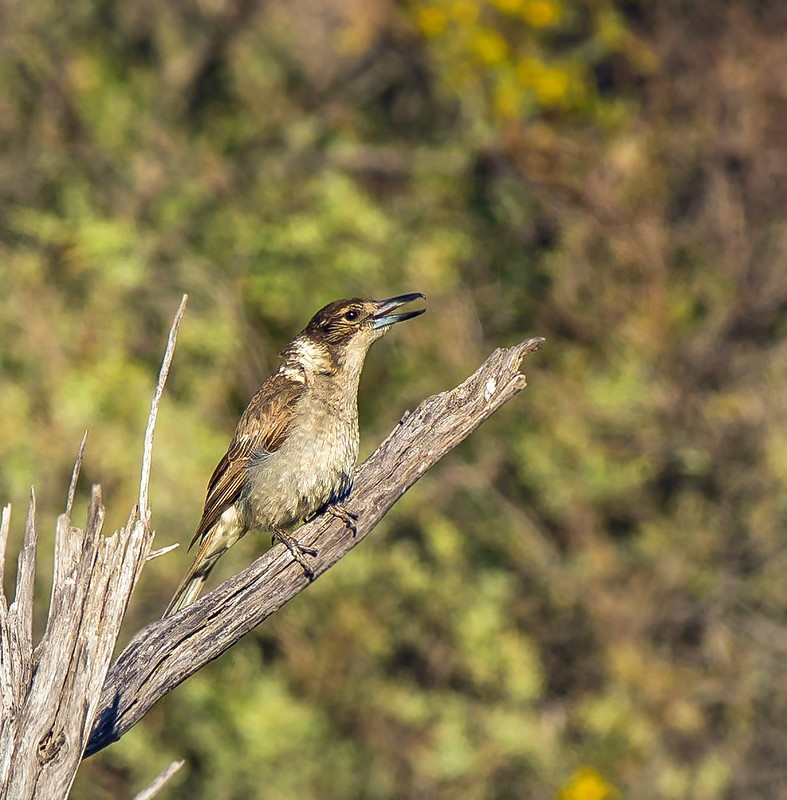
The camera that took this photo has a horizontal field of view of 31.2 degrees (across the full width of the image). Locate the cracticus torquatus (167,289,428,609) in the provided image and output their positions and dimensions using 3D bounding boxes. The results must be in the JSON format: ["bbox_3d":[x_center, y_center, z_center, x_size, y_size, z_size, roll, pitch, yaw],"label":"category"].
[{"bbox_3d":[-0.571,0.239,8.165,0.753,2.033,0.505,21,2,-7],"label":"cracticus torquatus"}]
